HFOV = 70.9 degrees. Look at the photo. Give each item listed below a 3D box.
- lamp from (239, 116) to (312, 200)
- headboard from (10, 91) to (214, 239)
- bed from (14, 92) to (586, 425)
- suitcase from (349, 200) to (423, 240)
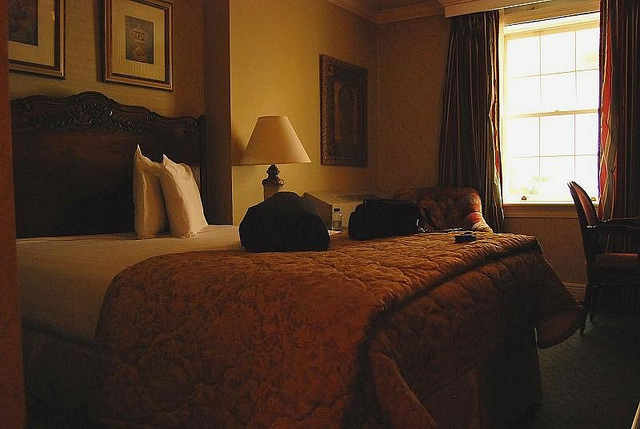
[{"bbox_3d":[-0.364,-0.499,4.548,0.659,1.101,0.747,-2,3,23],"label":"lamp"},{"bbox_3d":[-1.698,-0.341,3.521,1.857,1.265,0.071,4,12,15],"label":"headboard"},{"bbox_3d":[-0.136,0.177,2.861,2.237,1.309,2.508,-1,0,16],"label":"bed"},{"bbox_3d":[0.446,0.017,2.918,0.236,0.149,0.385,2,4,34],"label":"suitcase"}]
